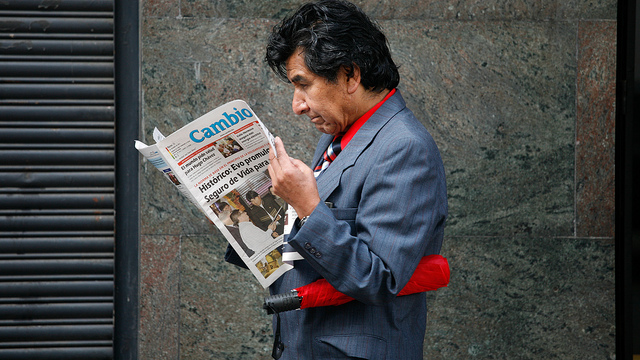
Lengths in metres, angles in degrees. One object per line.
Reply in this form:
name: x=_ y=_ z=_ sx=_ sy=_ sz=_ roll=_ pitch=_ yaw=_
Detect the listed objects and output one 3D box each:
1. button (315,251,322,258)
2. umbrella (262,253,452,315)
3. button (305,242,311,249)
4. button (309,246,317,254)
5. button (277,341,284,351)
button: x=-0.008 y=0.498 z=6.134 sx=0.046 sy=0.037 sz=0.022 roll=1 pitch=33 yaw=1
umbrella: x=0.190 y=0.745 z=6.292 sx=1.479 sy=0.319 sz=0.443 roll=-6 pitch=47 yaw=-8
button: x=-0.079 y=0.437 z=6.134 sx=0.035 sy=0.041 sz=0.016 roll=-2 pitch=3 yaw=-4
button: x=-0.044 y=0.465 z=6.134 sx=0.041 sy=0.044 sz=0.014 roll=-11 pitch=3 yaw=-1
button: x=-0.270 y=1.126 z=6.255 sx=0.046 sy=0.037 sz=0.074 roll=-3 pitch=7 yaw=3
